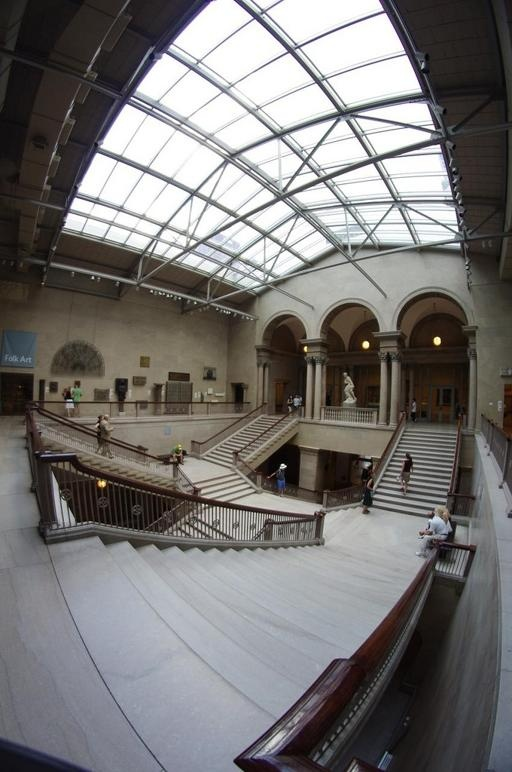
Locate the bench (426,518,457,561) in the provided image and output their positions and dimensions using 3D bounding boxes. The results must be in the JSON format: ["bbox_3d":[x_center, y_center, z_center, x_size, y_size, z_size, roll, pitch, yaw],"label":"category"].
[{"bbox_3d":[3.242,2.747,7.859,0.325,0.278,1.129,2,3,31],"label":"bench"}]

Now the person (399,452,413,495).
[{"bbox_3d":[4.554,2.681,13.609,0.320,0.913,0.896,10,-4,20],"label":"person"}]

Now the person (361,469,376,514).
[{"bbox_3d":[3.320,3.177,13.220,0.329,0.922,1.423,11,-4,16],"label":"person"}]
